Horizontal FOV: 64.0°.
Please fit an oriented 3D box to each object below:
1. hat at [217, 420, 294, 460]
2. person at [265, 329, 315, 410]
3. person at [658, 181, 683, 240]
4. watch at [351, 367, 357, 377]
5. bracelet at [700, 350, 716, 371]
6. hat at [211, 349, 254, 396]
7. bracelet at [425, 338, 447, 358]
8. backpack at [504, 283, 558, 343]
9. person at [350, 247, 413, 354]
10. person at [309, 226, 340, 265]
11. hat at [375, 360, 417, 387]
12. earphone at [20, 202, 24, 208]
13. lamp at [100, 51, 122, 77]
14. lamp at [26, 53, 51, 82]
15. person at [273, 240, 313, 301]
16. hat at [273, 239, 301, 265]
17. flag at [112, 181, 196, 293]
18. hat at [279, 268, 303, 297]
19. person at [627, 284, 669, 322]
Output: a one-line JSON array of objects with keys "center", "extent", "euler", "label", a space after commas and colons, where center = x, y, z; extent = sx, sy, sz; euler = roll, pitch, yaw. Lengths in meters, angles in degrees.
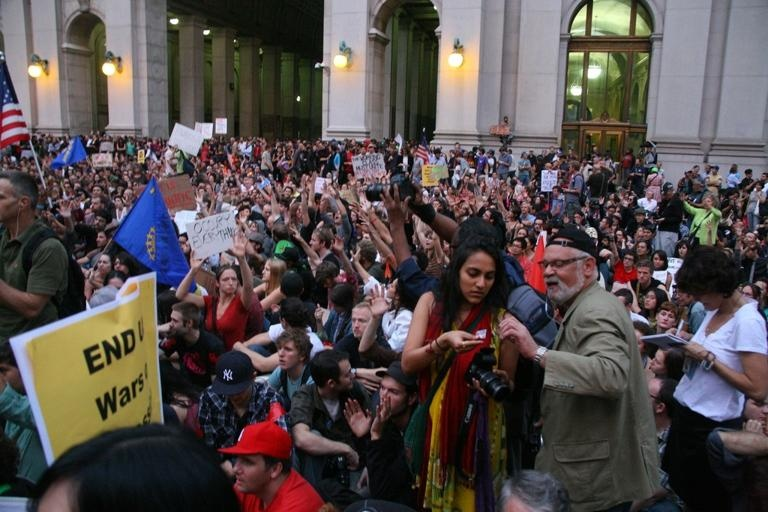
[{"center": [-1.025, 1.539, 5.150], "extent": [0.455, 0.231, 0.313], "euler": [9, -14, -1], "label": "hat"}, {"center": [-0.966, 1.206, 6.480], "extent": [0.604, 0.880, 0.579], "euler": [-2, -8, 32], "label": "person"}, {"center": [6.828, -1.031, 14.614], "extent": [0.556, 1.224, 1.465], "euler": [4, 9, 24], "label": "person"}, {"center": [-0.297, 1.193, 6.289], "extent": [0.051, 0.077, 0.029], "euler": [4, 3, 15], "label": "watch"}, {"center": [2.926, 0.938, 5.521], "extent": [0.072, 0.152, 0.105], "euler": [-5, -23, 30], "label": "bracelet"}, {"center": [-1.453, 1.147, 5.969], "extent": [0.296, 0.261, 0.429], "euler": [8, 33, -4], "label": "hat"}, {"center": [0.399, 0.710, 4.692], "extent": [0.056, 0.117, 0.142], "euler": [-4, 11, -44], "label": "bracelet"}, {"center": [1.183, 0.471, 4.962], "extent": [0.370, 0.192, 0.259], "euler": [49, 5, -42], "label": "backpack"}, {"center": [0.055, 0.748, 6.738], "extent": [0.416, 0.664, 0.845], "euler": [16, 54, 4], "label": "person"}, {"center": [-0.979, -0.186, 9.925], "extent": [0.468, 0.802, 0.566], "euler": [-1, 14, 8], "label": "person"}, {"center": [0.145, 1.073, 5.401], "extent": [0.281, 0.101, 0.200], "euler": [26, -9, -22], "label": "hat"}, {"center": [-3.428, -0.481, 5.830], "extent": [0.026, 0.040, 0.011], "euler": [-2, 4, 12], "label": "earphone"}, {"center": [-12.019, -8.535, 27.266], "extent": [0.760, 1.085, 0.701], "euler": [-4, 9, -32], "label": "lamp"}, {"center": [-16.551, -9.051, 29.549], "extent": [0.973, 1.484, 1.124], "euler": [7, 8, 16], "label": "lamp"}, {"center": [-1.423, 0.287, 9.435], "extent": [0.762, 0.856, 0.470], "euler": [5, 22, 0], "label": "person"}, {"center": [-1.516, -0.019, 9.714], "extent": [0.361, 0.312, 0.517], "euler": [-16, 33, -41], "label": "hat"}, {"center": [-3.101, -0.290, 8.211], "extent": [0.916, 1.478, 0.355], "euler": [-3, 8, -22], "label": "flag"}, {"center": [-1.182, 0.327, 7.938], "extent": [0.318, 0.487, 0.273], "euler": [-4, 29, -12], "label": "hat"}, {"center": [3.860, 0.697, 8.917], "extent": [0.276, 0.732, 0.324], "euler": [30, -12, -6], "label": "person"}]
